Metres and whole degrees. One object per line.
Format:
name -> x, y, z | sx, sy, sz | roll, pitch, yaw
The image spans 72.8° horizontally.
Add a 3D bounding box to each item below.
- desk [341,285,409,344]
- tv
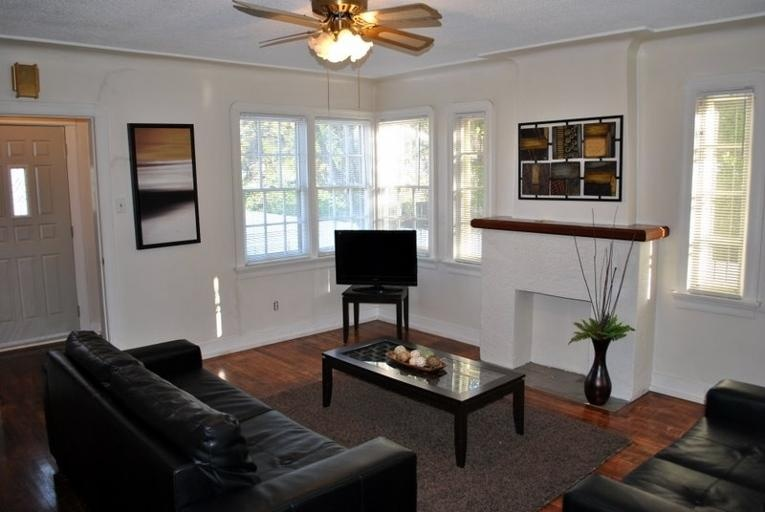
desk -> -0.075, 0.629, 6.523 | 0.952, 0.873, 0.691 | 1, 5, 13
tv -> -0.081, 0.057, 6.339 | 0.814, 0.542, 0.207 | 1, 5, 10
